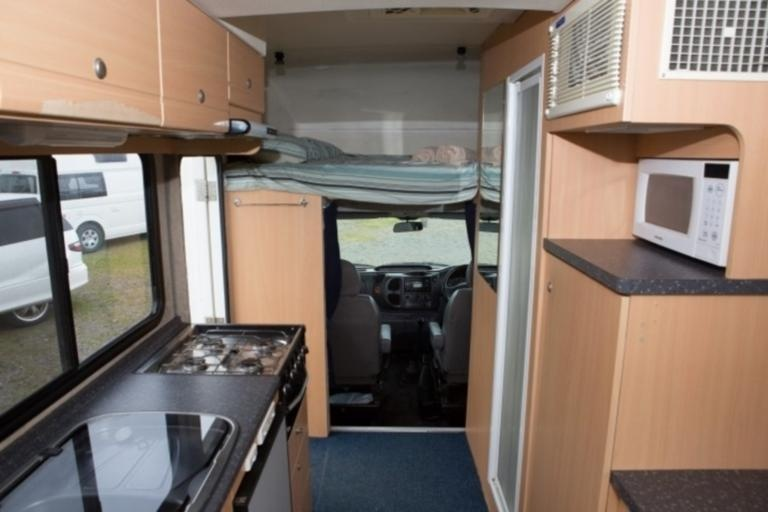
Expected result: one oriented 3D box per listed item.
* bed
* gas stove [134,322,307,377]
[{"bbox_3d":[-0.155,-0.512,3.640,1.153,0.300,0.663,3,7,1],"label":"bed"},{"bbox_3d":[-0.740,0.426,2.695,0.630,0.093,0.515,1,9,3],"label":"gas stove"}]
